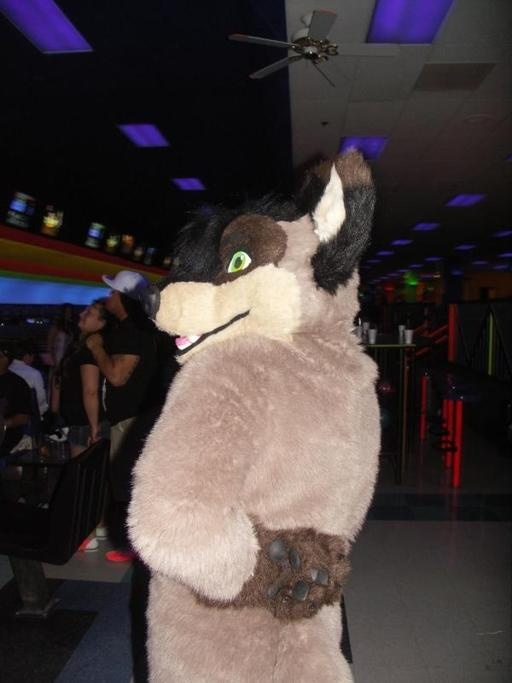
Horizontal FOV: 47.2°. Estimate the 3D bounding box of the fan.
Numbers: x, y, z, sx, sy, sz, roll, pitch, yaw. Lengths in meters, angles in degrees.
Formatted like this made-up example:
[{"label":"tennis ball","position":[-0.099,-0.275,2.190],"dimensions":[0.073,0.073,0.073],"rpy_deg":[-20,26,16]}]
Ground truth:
[{"label":"fan","position":[0.271,-1.826,3.608],"dimensions":[0.576,0.156,0.571],"rpy_deg":[10,13,40]}]
